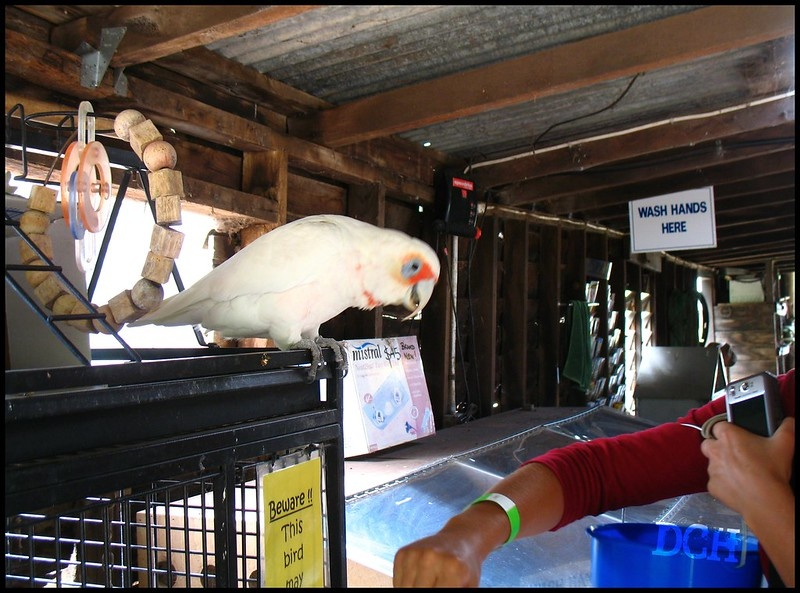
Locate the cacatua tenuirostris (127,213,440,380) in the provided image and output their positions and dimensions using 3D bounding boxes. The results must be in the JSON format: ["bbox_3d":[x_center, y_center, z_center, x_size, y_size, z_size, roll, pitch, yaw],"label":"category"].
[{"bbox_3d":[-0.318,-0.039,2.741,1.250,0.658,0.442,9,-7,-9],"label":"cacatua tenuirostris"}]

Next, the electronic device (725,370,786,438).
[{"bbox_3d":[0.906,0.276,1.759,0.114,0.159,0.170,2,-5,-40],"label":"electronic device"}]
